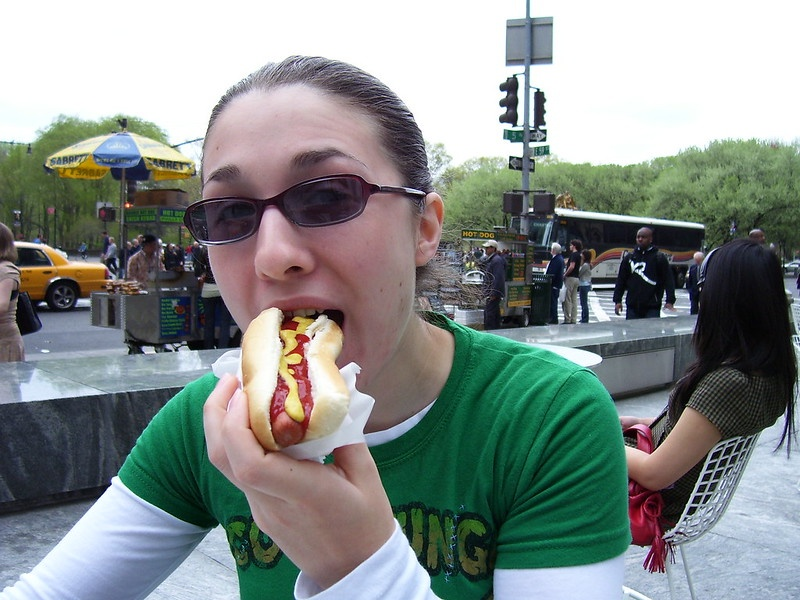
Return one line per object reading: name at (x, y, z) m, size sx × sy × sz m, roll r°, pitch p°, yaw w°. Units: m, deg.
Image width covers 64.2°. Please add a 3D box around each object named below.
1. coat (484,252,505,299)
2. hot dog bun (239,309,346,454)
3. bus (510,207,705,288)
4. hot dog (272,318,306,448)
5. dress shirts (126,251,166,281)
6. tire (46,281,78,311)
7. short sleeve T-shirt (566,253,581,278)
coat at (1.959, -0.511, 13.076) m, size 0.521 × 1.148 × 1.139 m, roll 1°, pitch 0°, yaw 10°
hot dog bun at (-0.252, 0.184, 1.571) m, size 0.259 × 0.168 × 0.548 m, roll 0°, pitch 22°, yaw -8°
bus at (12.085, -2.406, 35.784) m, size 13.469 × 4.364 × 3.405 m, roll 0°, pitch 4°, yaw -31°
hot dog at (-0.253, 0.186, 1.480) m, size 0.068 × 0.197 × 0.356 m, roll 0°, pitch 8°, yaw -9°
dress shirts at (-4.462, -0.587, 11.292) m, size 0.549 × 0.595 × 0.308 m, roll 1°, pitch -4°, yaw -32°
tire at (-10.230, -0.135, 19.294) m, size 0.267 × 0.808 × 0.700 m, roll 2°, pitch -14°, yaw 31°
short sleeve T-shirt at (4.795, -0.936, 17.479) m, size 0.431 × 0.793 × 0.775 m, roll 6°, pitch 4°, yaw 21°
